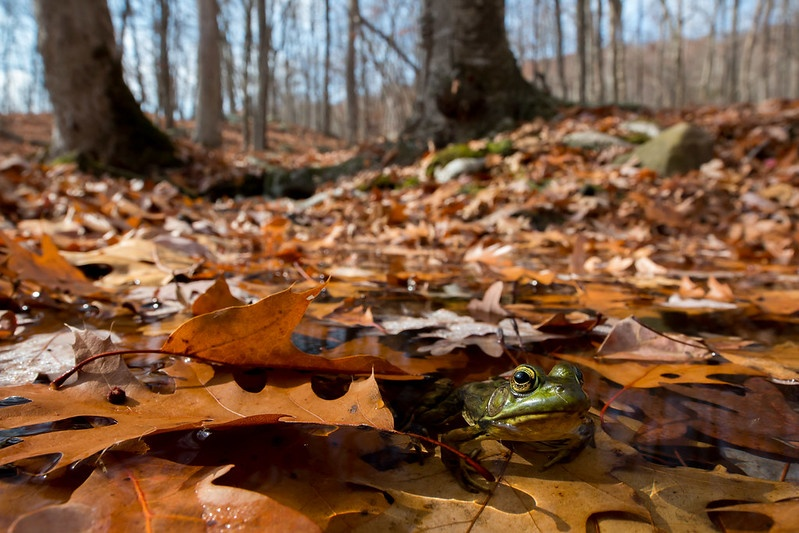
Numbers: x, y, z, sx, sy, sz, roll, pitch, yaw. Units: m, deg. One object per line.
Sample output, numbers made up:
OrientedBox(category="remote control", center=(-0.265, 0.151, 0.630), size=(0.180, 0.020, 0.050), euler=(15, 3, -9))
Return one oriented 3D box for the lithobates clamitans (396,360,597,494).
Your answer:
OrientedBox(category="lithobates clamitans", center=(0.447, 0.640, 2.690), size=(0.741, 0.260, 0.583), euler=(-2, 8, -23))
